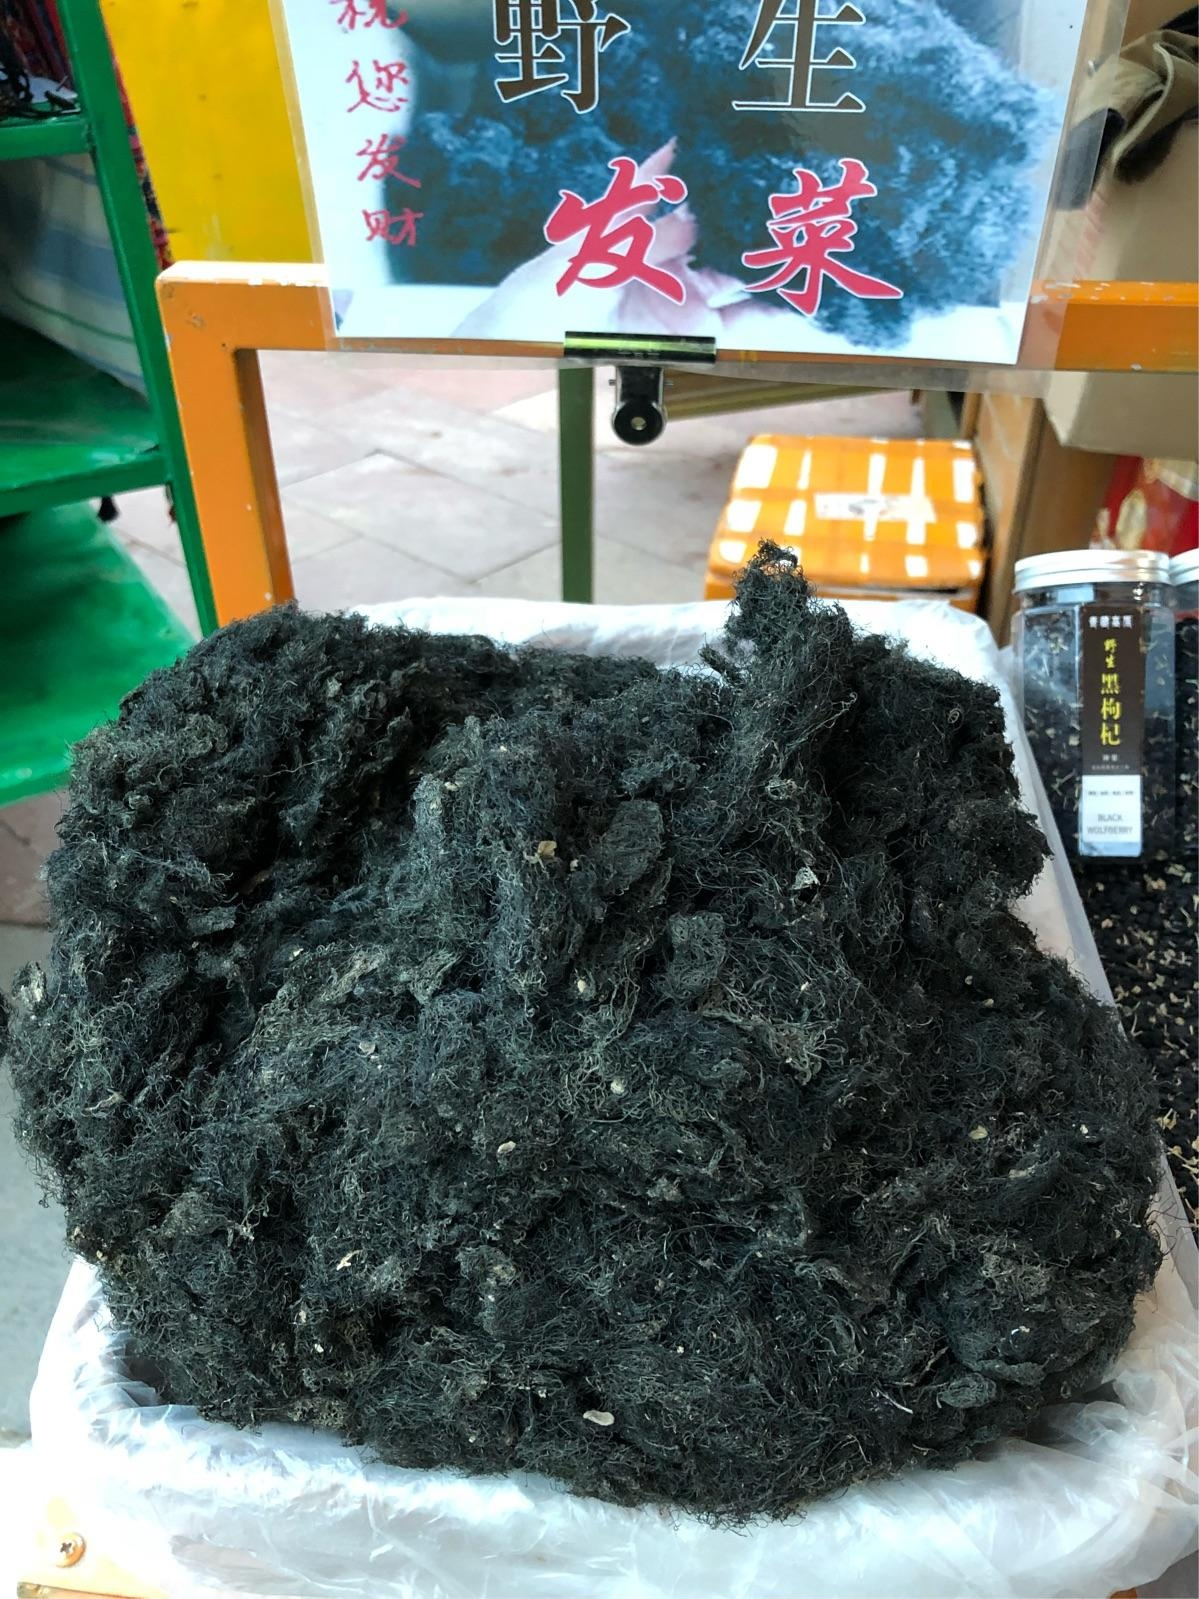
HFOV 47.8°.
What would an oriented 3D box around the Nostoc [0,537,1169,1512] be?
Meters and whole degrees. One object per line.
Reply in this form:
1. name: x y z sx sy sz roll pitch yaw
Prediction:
1. Nostoc: 0.000 0.094 0.662 0.549 0.316 0.420 11 40 17
